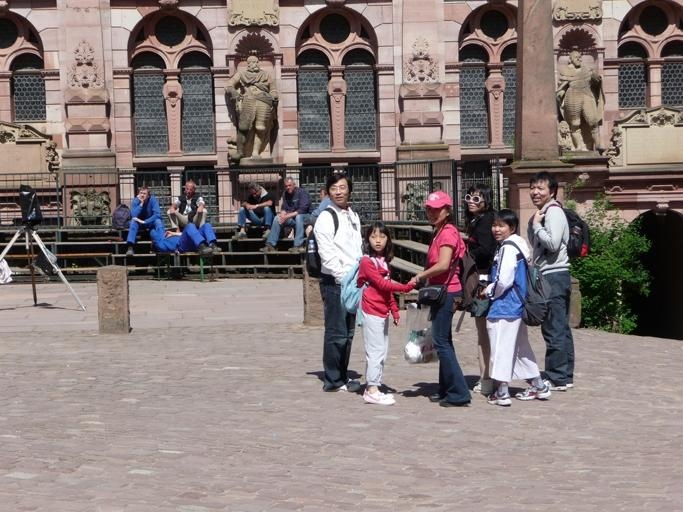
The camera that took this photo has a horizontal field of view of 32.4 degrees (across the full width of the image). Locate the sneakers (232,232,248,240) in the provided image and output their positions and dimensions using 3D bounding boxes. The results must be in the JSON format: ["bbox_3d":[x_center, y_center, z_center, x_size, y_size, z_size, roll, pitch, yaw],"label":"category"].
[{"bbox_3d":[-2.380,-0.483,28.043,0.348,0.151,0.137,1,17,6],"label":"sneakers"}]

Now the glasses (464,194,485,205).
[{"bbox_3d":[1.918,-0.809,16.820,0.187,0.082,0.205,1,-8,27],"label":"glasses"}]

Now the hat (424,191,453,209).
[{"bbox_3d":[1.374,-0.765,16.341,0.245,0.174,0.346,-2,-10,39],"label":"hat"}]

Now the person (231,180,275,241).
[{"bbox_3d":[-1.989,-1.052,28.114,1.149,1.349,1.323,3,5,21],"label":"person"}]

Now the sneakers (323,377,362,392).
[{"bbox_3d":[0.042,1.855,16.922,0.548,0.206,0.189,3,2,-5],"label":"sneakers"}]

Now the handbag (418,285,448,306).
[{"bbox_3d":[1.277,0.542,16.119,0.285,0.252,0.156,-3,-16,36],"label":"handbag"}]

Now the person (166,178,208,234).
[{"bbox_3d":[-3.435,-1.213,26.826,1.225,1.431,1.129,-1,-5,-3],"label":"person"}]

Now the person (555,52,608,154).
[{"bbox_3d":[6.427,-3.974,31.752,1.207,2.170,1.112,3,14,10],"label":"person"}]

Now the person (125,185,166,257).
[{"bbox_3d":[-4.491,-0.849,26.891,0.900,1.299,1.383,-1,18,-10],"label":"person"}]

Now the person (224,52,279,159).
[{"bbox_3d":[-2.375,-3.959,31.702,1.350,2.782,0.880,-1,14,-4],"label":"person"}]

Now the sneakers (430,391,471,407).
[{"bbox_3d":[1.515,2.007,16.395,0.575,0.215,0.200,6,4,10],"label":"sneakers"}]

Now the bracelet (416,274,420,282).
[{"bbox_3d":[1.065,0.305,16.160,0.027,0.092,0.072,11,-19,42],"label":"bracelet"}]

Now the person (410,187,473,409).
[{"bbox_3d":[1.417,0.618,16.305,0.812,2.890,0.833,-1,14,-3],"label":"person"}]

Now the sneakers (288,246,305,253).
[{"bbox_3d":[-1.009,-0.142,27.428,0.406,0.168,0.133,8,34,40],"label":"sneakers"}]

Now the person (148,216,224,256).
[{"bbox_3d":[-3.428,-0.392,26.248,1.652,0.741,0.564,8,16,30],"label":"person"}]

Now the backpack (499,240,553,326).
[{"bbox_3d":[2.685,0.536,16.323,0.436,0.810,0.403,-13,19,-42],"label":"backpack"}]
